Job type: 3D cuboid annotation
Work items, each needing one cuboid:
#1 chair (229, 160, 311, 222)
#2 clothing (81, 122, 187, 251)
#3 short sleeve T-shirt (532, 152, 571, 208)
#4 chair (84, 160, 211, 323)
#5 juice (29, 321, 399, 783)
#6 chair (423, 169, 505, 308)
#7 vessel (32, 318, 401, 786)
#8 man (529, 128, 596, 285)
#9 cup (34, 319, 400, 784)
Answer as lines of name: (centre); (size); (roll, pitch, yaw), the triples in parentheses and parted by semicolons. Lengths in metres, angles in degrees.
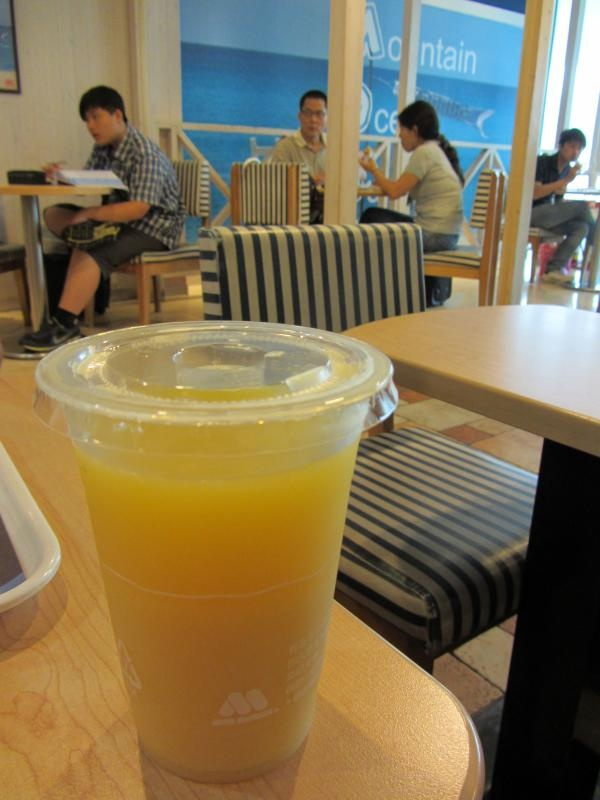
chair: (-0.225, -1.457, 4.291); (0.237, 0.418, 0.702); (-13, 22, -33)
clothing: (-1.043, -1.303, 3.656); (0.604, 0.651, 0.467); (18, 43, 21)
short sleeve T-shirt: (1.291, -1.140, 3.123); (0.202, 0.222, 0.116); (-23, 60, -2)
chair: (-0.809, -0.973, 3.882); (0.657, 0.869, 0.664); (3, 24, 15)
juice: (-0.032, 0.057, 0.260); (0.133, 0.160, 0.139); (-8, 20, -23)
chair: (0.964, -0.918, 3.851); (0.587, 0.767, 0.548); (6, 17, 26)
vessel: (-0.016, 0.042, 0.308); (0.160, 0.189, 0.160); (-8, 23, -26)
man: (1.381, -1.028, 3.175); (0.388, 0.752, 0.322); (20, 45, 36)
cup: (-0.031, 0.063, 0.239); (0.117, 0.137, 0.117); (-2, 6, 0)
